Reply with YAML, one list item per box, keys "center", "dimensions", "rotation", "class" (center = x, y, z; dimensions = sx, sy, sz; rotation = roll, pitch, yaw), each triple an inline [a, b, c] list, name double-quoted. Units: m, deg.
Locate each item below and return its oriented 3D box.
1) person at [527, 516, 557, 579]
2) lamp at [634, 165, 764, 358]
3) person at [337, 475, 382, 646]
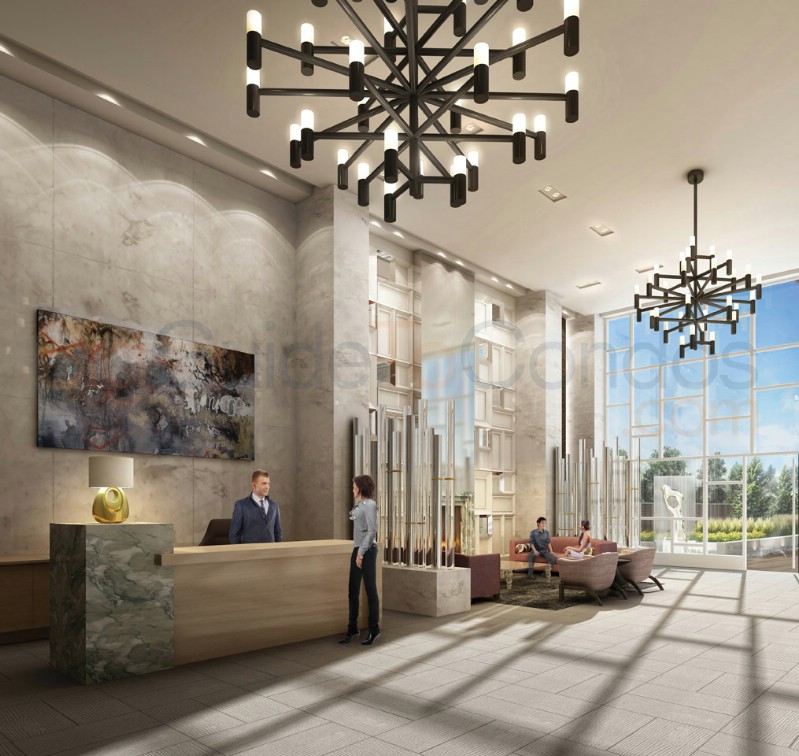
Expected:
- center: [2.480, 2.948, 12.720]
  dimensions: [0.402, 1.106, 0.574]
  rotation: [-5, -17, 22]
  class: "person"
- center: [4.757, -1.923, 11.504]
  dimensions: [1.764, 3.390, 1.829]
  rotation: [-4, -7, 41]
  class: "lamp"
- center: [-0.378, 1.778, 7.276]
  dimensions: [0.358, 1.603, 0.401]
  rotation: [1, -4, -4]
  class: "person"
